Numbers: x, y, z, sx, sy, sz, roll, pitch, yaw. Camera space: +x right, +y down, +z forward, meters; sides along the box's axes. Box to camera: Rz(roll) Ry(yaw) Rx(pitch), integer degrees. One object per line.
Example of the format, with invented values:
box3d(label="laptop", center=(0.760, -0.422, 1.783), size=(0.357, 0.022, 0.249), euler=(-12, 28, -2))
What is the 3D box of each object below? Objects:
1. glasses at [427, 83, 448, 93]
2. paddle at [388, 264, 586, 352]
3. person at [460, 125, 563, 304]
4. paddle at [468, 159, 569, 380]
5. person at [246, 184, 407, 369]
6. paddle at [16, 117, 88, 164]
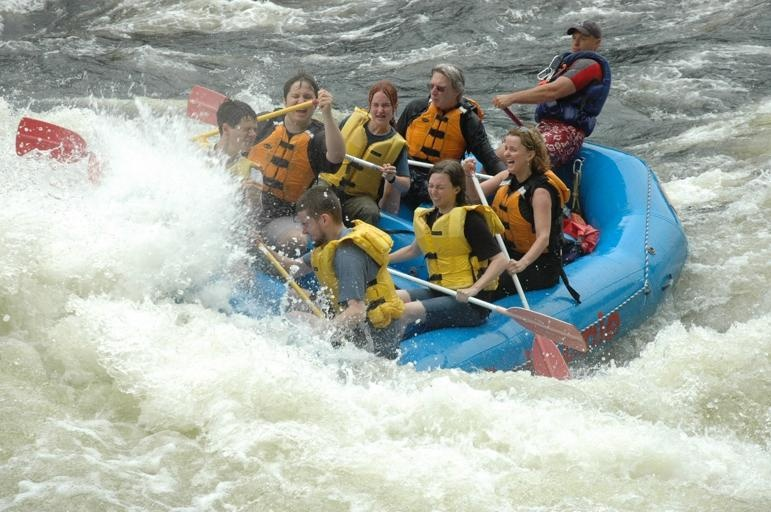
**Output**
box3d(label="glasses", center=(0.496, -1.596, 8.468), size=(0.085, 0.058, 0.106), euler=(7, 5, 28))
box3d(label="paddle", center=(0.821, 0.457, 7.352), size=(1.739, 0.205, 0.083), euler=(21, 27, 4))
box3d(label="person", center=(1.008, -0.405, 7.776), size=(1.107, 1.326, 1.034), euler=(3, 22, 19))
box3d(label="paddle", center=(0.925, -0.083, 7.575), size=(0.351, 2.416, 0.216), euler=(-22, -5, -7))
box3d(label="person", center=(-0.462, 0.458, 7.416), size=(0.908, 1.967, 1.339), euler=(-12, 14, -43))
box3d(label="paddle", center=(-3.014, -1.075, 8.139), size=(0.770, 0.401, 0.295), euler=(1, 21, 20))
